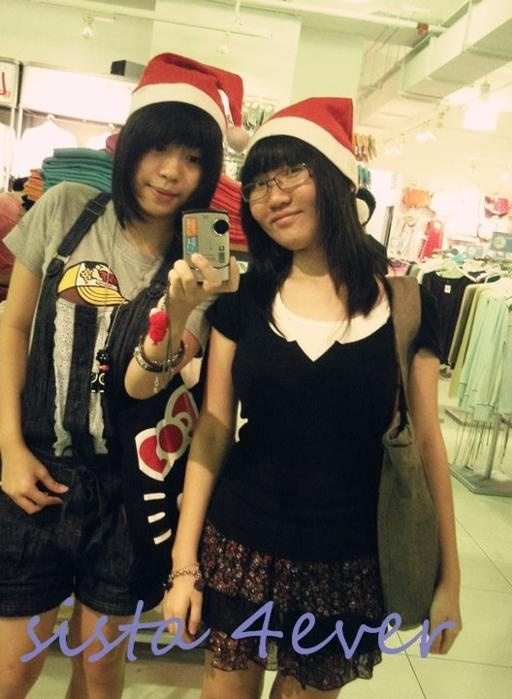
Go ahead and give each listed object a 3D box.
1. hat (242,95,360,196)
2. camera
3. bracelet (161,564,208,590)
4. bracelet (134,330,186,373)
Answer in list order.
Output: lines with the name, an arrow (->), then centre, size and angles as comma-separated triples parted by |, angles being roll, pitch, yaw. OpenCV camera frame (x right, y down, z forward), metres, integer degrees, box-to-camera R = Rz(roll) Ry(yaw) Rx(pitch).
hat -> 0.126, -0.505, 1.307 | 0.287, 0.218, 0.202 | -1, 5, -35
camera -> -0.085, -0.182, 0.969 | 0.080, 0.122, 0.056 | 1, 9, -35
bracelet -> -0.142, 0.438, 1.051 | 0.057, 0.034, 0.050 | -25, 15, 8
bracelet -> -0.181, 0.012, 1.026 | 0.093, 0.073, 0.066 | 5, 7, -9
